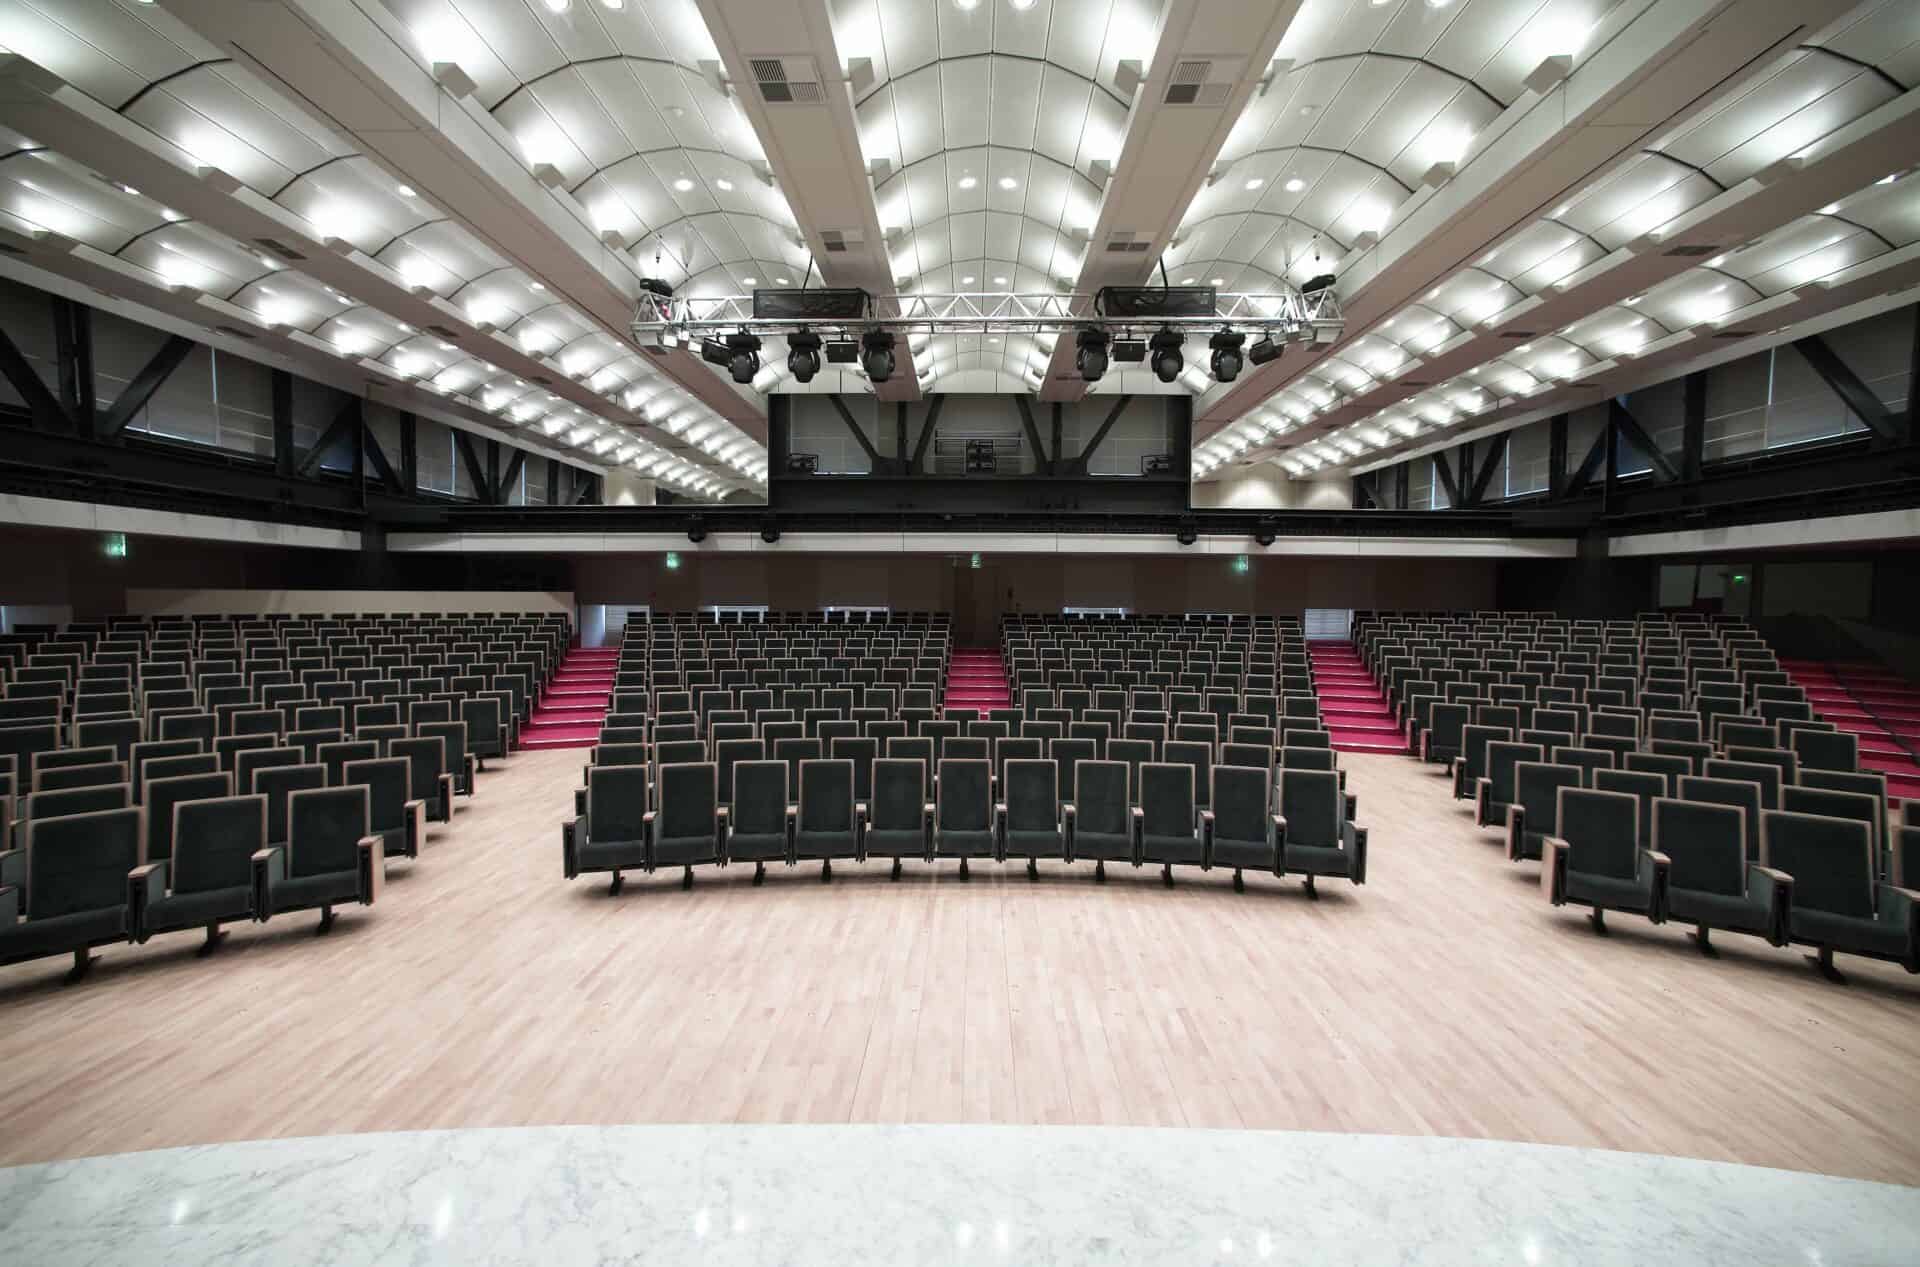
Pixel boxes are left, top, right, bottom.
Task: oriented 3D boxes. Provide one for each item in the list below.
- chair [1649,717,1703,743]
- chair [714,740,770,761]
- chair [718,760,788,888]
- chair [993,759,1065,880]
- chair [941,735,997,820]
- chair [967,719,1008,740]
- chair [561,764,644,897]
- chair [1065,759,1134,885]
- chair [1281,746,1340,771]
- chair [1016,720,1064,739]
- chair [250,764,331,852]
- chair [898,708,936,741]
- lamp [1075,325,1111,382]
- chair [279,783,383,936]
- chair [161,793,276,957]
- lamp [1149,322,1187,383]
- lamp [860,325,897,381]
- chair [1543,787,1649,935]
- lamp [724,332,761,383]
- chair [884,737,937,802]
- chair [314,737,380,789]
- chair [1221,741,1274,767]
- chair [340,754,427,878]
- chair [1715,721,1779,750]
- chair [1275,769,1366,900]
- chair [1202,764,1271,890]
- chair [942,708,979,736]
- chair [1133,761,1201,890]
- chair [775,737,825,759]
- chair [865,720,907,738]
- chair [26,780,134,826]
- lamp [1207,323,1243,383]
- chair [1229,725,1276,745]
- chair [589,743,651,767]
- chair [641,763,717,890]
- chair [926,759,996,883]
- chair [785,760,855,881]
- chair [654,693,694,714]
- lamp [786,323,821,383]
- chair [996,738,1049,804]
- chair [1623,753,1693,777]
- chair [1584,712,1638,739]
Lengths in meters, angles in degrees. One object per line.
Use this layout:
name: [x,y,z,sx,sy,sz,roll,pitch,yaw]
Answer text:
chair: [8.768,1.121,12.032,0.562,0.356,0.295,0,-11,15]
chair: [-2.386,1.243,10.858,0.553,0.204,0.345,0,-7,-13]
chair: [-2.065,1.867,10.038,0.640,1.190,0.436,0,-7,-13]
chair: [0.761,1.879,10.090,0.768,1.010,0.602,1,-2,2]
chair: [0.081,1.381,10.857,0.600,0.836,0.474,1,-13,0]
chair: [0.359,1.096,11.783,0.358,0.172,0.221,0,17,5]
chair: [-3.408,1.875,9.698,1.050,1.101,1.050,0,-3,-36]
chair: [1.462,1.899,10.051,0.837,1.055,0.686,2,2,-4]
chair: [3.868,1.330,10.814,0.626,0.219,0.291,1,-8,-18]
chair: [1.010,1.105,11.820,0.536,0.175,0.317,-2,-7,-2]
chair: [-6.444,1.684,9.481,0.750,0.695,0.367,-1,-6,-20]
chair: [-0.536,1.100,12.495,0.373,0.501,0.302,1,-11,-4]
lamp: [1.980,-4.131,14.501,0.530,0.788,0.360,2,4,1]
chair: [-5.919,2.116,9.175,1.014,1.228,0.873,-3,0,-8]
chair: [-6.699,2.187,8.871,1.021,1.262,0.811,-3,0,-15]
lamp: [2.995,-4.063,14.191,0.455,0.844,0.584,-5,-8,20]
lamp: [-1.177,-4.159,14.458,0.460,1.098,0.985,-1,-7,-6]
chair: [5.989,2.089,9.188,1.000,1.183,0.901,4,1,36]
lamp: [-3.210,-4.109,14.521,0.454,0.844,0.662,0,-7,-15]
chair: [-0.531,1.398,10.569,0.524,0.682,0.733,-1,-3,6]
chair: [-6.568,1.418,10.484,0.587,0.565,0.412,5,7,17]
chair: [3.254,1.336,11.178,0.543,0.224,0.523,-4,-8,14]
chair: [-5.929,1.799,10.174,0.757,0.752,0.557,-5,19,-18]
chair: [9.300,1.168,11.627,0.589,0.283,0.375,-1,7,33]
chair: [3.489,1.934,9.742,1.030,1.104,1.140,3,0,0]
chair: [2.794,1.881,9.823,0.814,1.120,0.703,2,-3,-4]
chair: [0.033,1.102,12.688,0.329,0.419,0.251,1,-14,0]
chair: [2.142,1.777,9.996,0.618,0.984,0.337,-3,-7,12]
chair: [-1.762,1.260,11.008,0.463,0.232,0.343,4,-9,-37]
chair: [-0.877,1.124,11.967,0.356,0.211,0.174,3,-23,-8]
chair: [-8.294,1.551,9.300,0.620,0.395,0.323,-2,-8,-30]
lamp: [3.805,-4.013,13.962,0.428,0.898,0.547,-4,-7,17]
chair: [3.600,1.189,12.090,0.496,0.203,0.449,-4,-8,13]
chair: [-3.769,1.327,11.006,0.458,0.230,0.301,-1,-3,-5]
chair: [-2.746,1.877,9.913,0.629,1.197,0.383,0,-7,-16]
chair: [0.040,1.865,10.484,1.072,1.511,1.001,1,-10,-2]
chair: [-1.378,1.857,10.085,0.680,1.195,0.363,-1,-7,-6]
chair: [-3.845,0.873,13.330,0.474,0.296,0.247,0,-13,-7]
lamp: [-2.264,-4.187,14.586,0.627,0.718,0.841,2,21,0]
chair: [0.659,1.397,10.852,0.600,0.760,0.576,1,-11,-2]
chair: [7.578,1.382,10.622,0.441,0.213,0.296,0,0,35]
chair: [8.214,1.094,12.363,0.584,0.373,0.305,0,-18,15]
